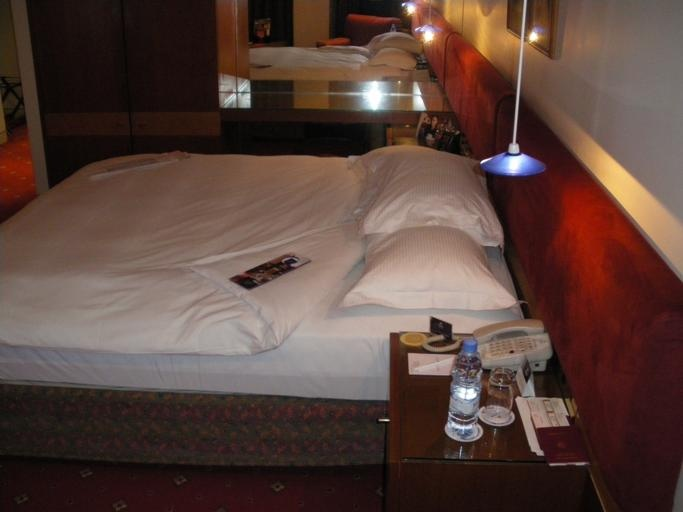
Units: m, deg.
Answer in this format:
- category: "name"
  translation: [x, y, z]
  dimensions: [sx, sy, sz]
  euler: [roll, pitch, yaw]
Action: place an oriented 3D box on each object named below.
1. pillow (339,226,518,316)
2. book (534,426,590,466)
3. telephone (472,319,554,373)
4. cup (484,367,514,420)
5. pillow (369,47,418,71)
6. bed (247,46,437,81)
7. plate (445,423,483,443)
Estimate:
- category: "pillow"
  translation: [0.366, 0.058, 2.288]
  dimensions: [0.428, 0.128, 0.467]
  euler: [2, 38, 5]
- category: "book"
  translation: [0.667, 0.570, 1.624]
  dimensions: [0.132, 0.061, 0.110]
  euler: [-1, 17, 1]
- category: "telephone"
  translation: [0.629, 0.326, 1.965]
  dimensions: [0.220, 0.086, 0.179]
  euler: [-2, 38, 6]
- category: "cup"
  translation: [0.525, 0.458, 1.780]
  dimensions: [0.091, 0.091, 0.085]
  euler: [0, 23, 0]
- category: "pillow"
  translation: [0.542, -1.972, 5.400]
  dimensions: [0.321, 0.105, 0.350]
  euler: [4, 40, 7]
- category: "bed"
  translation: [0.019, -1.903, 5.317]
  dimensions: [1.202, 0.146, 0.777]
  euler: [0, 35, -4]
- category: "plate"
  translation: [0.382, 0.543, 1.674]
  dimensions: [0.069, 0.019, 0.073]
  euler: [-6, 32, -3]
